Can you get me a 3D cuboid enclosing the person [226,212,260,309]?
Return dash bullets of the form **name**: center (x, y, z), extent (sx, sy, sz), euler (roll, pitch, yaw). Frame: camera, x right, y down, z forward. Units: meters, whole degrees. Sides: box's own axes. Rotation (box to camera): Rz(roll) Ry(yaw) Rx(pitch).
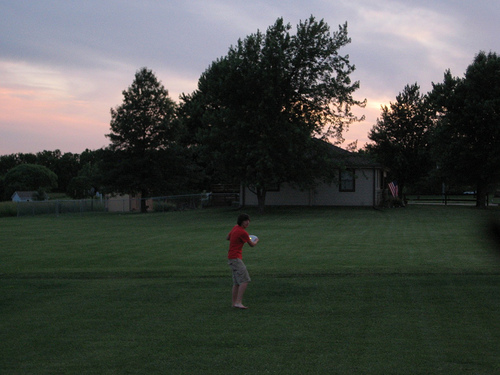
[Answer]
- **person**: center (-0.176, 1.518, 12.278), extent (0.573, 1.917, 1.140), euler (-1, 2, -2)
